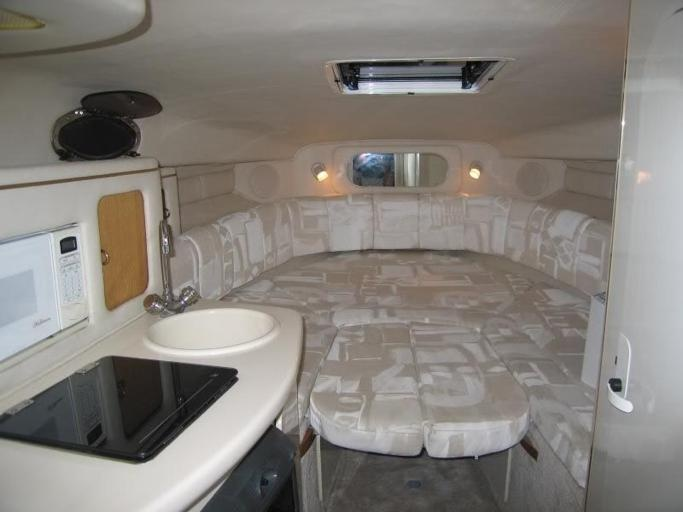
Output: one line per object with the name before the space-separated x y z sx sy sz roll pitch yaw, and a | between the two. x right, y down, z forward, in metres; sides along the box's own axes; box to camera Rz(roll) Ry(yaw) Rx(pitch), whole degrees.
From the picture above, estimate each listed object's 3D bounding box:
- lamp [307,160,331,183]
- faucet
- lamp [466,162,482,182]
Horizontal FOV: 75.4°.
lamp | -0.170 -0.646 3.511 0.143 0.130 0.158 37 22 -39
faucet | -0.559 0.034 1.437 0.199 0.298 0.143 -6 12 -43
lamp | 1.028 -0.660 3.453 0.100 0.125 0.105 2 2 12
